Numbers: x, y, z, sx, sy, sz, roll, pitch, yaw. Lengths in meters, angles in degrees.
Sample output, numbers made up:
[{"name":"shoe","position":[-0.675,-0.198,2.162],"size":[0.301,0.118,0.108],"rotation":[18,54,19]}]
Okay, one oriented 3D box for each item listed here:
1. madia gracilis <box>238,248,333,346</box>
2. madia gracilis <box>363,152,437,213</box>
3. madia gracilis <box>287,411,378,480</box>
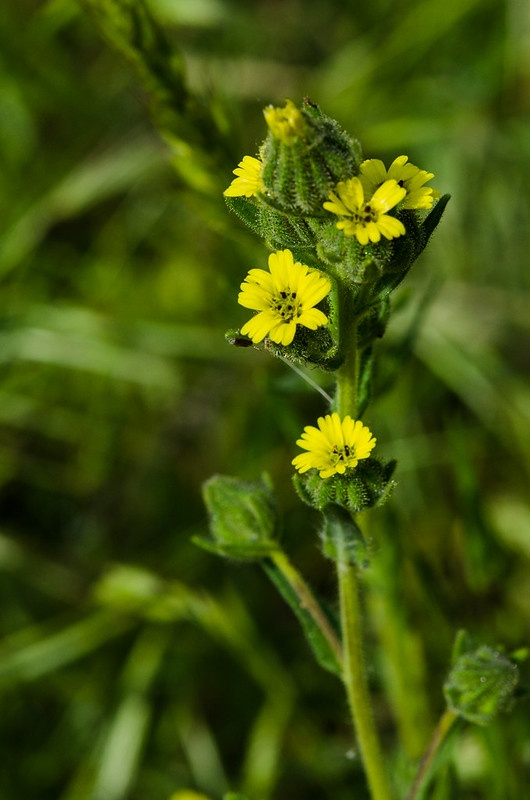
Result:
[{"name":"madia gracilis","position":[0.014,-0.074,0.502],"size":[0.065,0.047,0.057],"rotation":[-1,37,16]},{"name":"madia gracilis","position":[0.093,-0.163,0.522],"size":[0.060,0.016,0.055],"rotation":[12,-7,-34]},{"name":"madia gracilis","position":[0.051,0.032,0.515],"size":[0.058,0.033,0.042],"rotation":[10,41,28]}]
